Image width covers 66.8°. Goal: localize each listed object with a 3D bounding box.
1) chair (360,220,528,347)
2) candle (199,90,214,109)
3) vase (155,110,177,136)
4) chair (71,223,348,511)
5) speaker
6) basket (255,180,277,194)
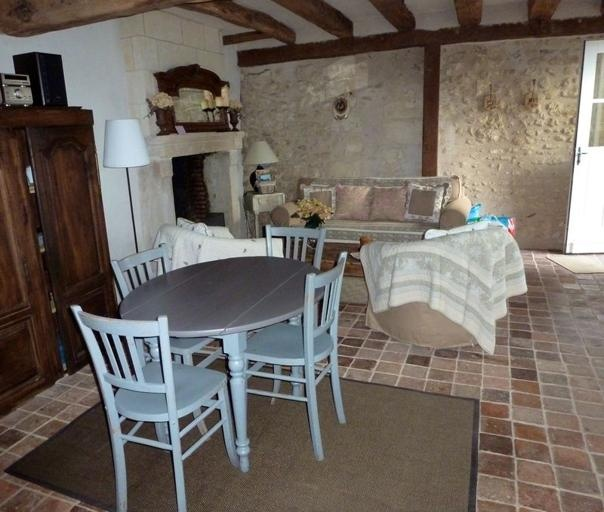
[{"bbox_3d":[1.000,0.236,3.421,1.137,0.952,0.565,2,15,17],"label":"chair"},{"bbox_3d":[-1.057,-1.744,5.141,0.127,0.192,0.074,-14,22,-35],"label":"candle"},{"bbox_3d":[-1.297,-1.259,4.386,0.211,0.242,0.209,-6,12,-19],"label":"vase"},{"bbox_3d":[-0.448,0.550,2.561,1.384,1.076,1.016,-10,17,-29],"label":"chair"},{"bbox_3d":[-1.750,-1.175,3.099,0.255,0.349,0.322,-14,18,-37],"label":"speaker"},{"bbox_3d":[-0.472,-0.912,6.129,0.239,0.178,0.171,-9,11,-39],"label":"basket"}]
